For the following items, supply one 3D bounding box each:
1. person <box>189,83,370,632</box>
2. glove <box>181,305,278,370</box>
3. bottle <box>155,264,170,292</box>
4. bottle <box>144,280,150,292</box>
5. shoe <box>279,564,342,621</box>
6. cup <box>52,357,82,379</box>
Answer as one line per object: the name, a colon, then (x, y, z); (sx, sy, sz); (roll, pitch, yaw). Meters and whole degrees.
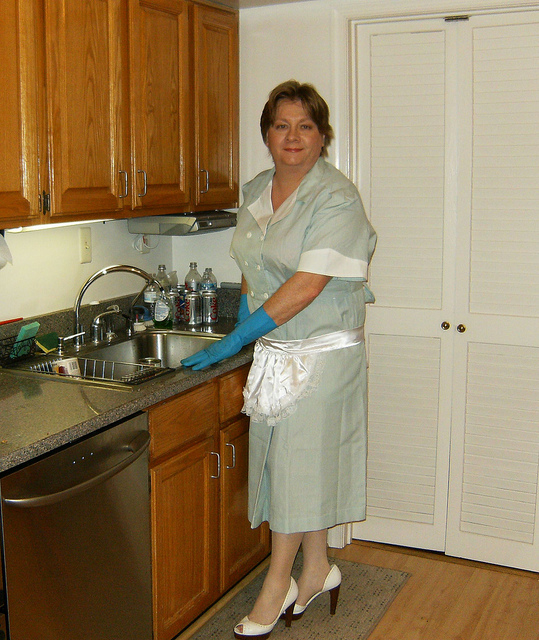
person: (0.065, 0.150, 1.945); (0.517, 1.729, 0.578); (0, 5, 0)
glove: (-0.136, 0.065, 1.974); (0.380, 0.109, 0.087); (-30, 9, 19)
bottle: (-0.460, -0.185, 2.550); (0.056, 0.115, 0.126); (0, 4, -9)
bottle: (-0.497, -0.138, 2.392); (0.021, 0.048, 0.118); (-1, 4, -13)
shoe: (0.122, 0.935, 2.020); (0.262, 0.156, 0.088); (-4, -6, -7)
cup: (-0.608, 0.142, 1.776); (0.088, 0.051, 0.057); (-3, 6, -41)
